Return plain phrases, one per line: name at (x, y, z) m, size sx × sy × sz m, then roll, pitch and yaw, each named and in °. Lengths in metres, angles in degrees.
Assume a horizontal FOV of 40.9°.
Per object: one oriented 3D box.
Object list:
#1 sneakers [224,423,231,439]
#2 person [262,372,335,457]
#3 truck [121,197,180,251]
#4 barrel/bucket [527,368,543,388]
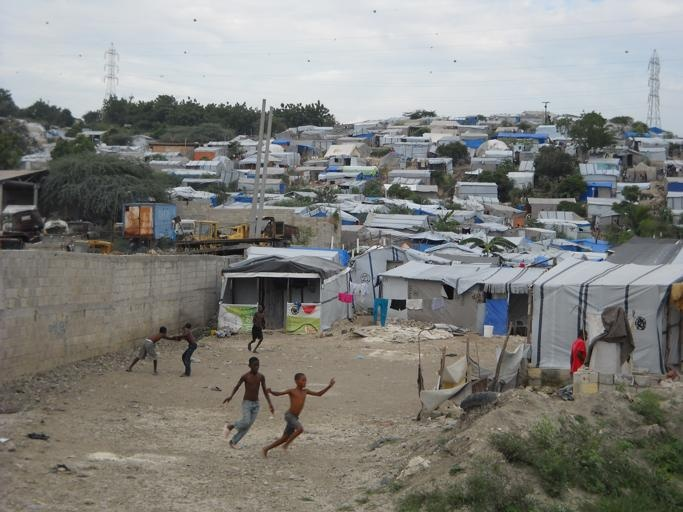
sneakers at (-2.111, 3.214, 16.804) m, size 0.137 × 0.301 × 0.122 m, roll -1°, pitch -10°, yaw 28°
person at (-0.838, 2.816, 17.635) m, size 0.880 × 1.486 × 2.299 m, roll 1°, pitch 8°, yaw 4°
truck at (-7.829, -1.258, 37.390) m, size 1.729 × 2.290 × 2.715 m, roll 0°, pitch -2°, yaw -4°
barrel/bucket at (4.208, 2.632, 19.910) m, size 0.297 × 0.331 × 0.307 m, roll 1°, pitch 8°, yaw 0°
